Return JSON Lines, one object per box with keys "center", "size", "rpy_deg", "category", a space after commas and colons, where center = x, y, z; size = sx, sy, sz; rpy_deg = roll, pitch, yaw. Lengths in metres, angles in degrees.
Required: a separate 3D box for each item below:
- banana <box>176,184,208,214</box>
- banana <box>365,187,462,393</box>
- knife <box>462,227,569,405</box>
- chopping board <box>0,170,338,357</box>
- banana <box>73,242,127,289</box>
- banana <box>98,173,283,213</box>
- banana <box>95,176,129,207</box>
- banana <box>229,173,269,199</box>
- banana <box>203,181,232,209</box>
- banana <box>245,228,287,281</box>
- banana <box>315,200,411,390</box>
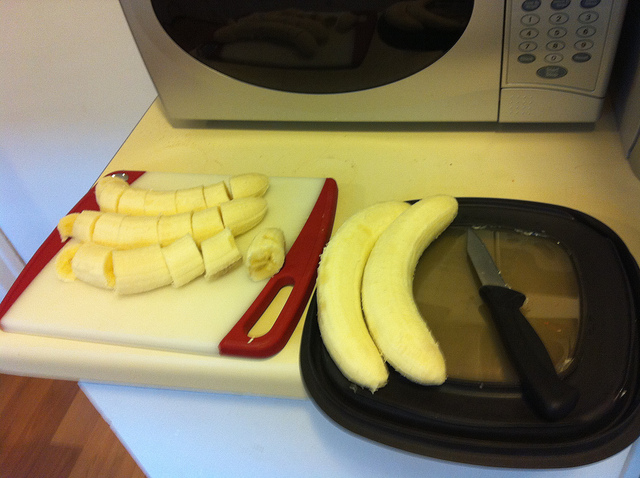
{"center": [-0.191, -0.058, 0.729], "size": [0.038, 0.017, 0.044], "rpy_deg": [-7, 64, -6], "category": "banana"}
{"center": [0.122, 0.048, 0.637], "size": [0.114, 0.075, 0.311], "rpy_deg": [2, 45, 18], "category": "banana"}
{"center": [0.231, 0.081, 0.579], "size": [0.046, 0.026, 0.216], "rpy_deg": [-17, 48, 14], "category": "knife"}
{"center": [-0.229, 0.046, 0.636], "size": [0.372, 0.043, 0.287], "rpy_deg": [4, 52, 12], "category": "chopping board"}
{"center": [-0.297, 0.041, 0.709], "size": [0.064, 0.086, 0.069], "rpy_deg": [12, 83, 0], "category": "banana"}
{"center": [-0.194, -0.068, 0.747], "size": [0.188, 0.059, 0.063], "rpy_deg": [-2, 94, 6], "category": "banana"}
{"center": [-0.334, -0.078, 0.779], "size": [0.038, 0.013, 0.054], "rpy_deg": [11, 53, 9], "category": "banana"}
{"center": [-0.107, -0.080, 0.737], "size": [0.048, 0.017, 0.039], "rpy_deg": [3, 71, -14], "category": "banana"}
{"center": [-0.153, -0.066, 0.732], "size": [0.034, 0.014, 0.041], "rpy_deg": [-11, 65, -4], "category": "banana"}
{"center": [-0.073, 0.023, 0.673], "size": [0.062, 0.057, 0.046], "rpy_deg": [-14, 43, -17], "category": "banana"}
{"center": [0.045, 0.047, 0.632], "size": [0.108, 0.060, 0.250], "rpy_deg": [13, 54, 7], "category": "banana"}
